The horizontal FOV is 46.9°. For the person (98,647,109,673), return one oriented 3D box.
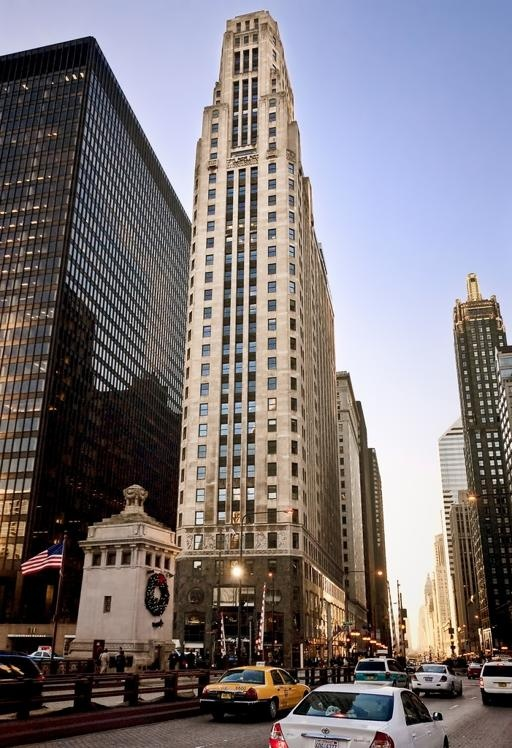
[{"bbox_3d":[-8.615,16.241,33.565,0.560,1.126,2.615,5,-25,-11],"label":"person"}]

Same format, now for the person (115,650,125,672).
[{"bbox_3d":[-7.371,15.643,32.302,0.393,1.105,2.264,5,-25,-12],"label":"person"}]

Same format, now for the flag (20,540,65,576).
[{"bbox_3d":[-12.831,10.973,35.803,1.937,2.069,5.847,9,-26,-19],"label":"flag"}]
